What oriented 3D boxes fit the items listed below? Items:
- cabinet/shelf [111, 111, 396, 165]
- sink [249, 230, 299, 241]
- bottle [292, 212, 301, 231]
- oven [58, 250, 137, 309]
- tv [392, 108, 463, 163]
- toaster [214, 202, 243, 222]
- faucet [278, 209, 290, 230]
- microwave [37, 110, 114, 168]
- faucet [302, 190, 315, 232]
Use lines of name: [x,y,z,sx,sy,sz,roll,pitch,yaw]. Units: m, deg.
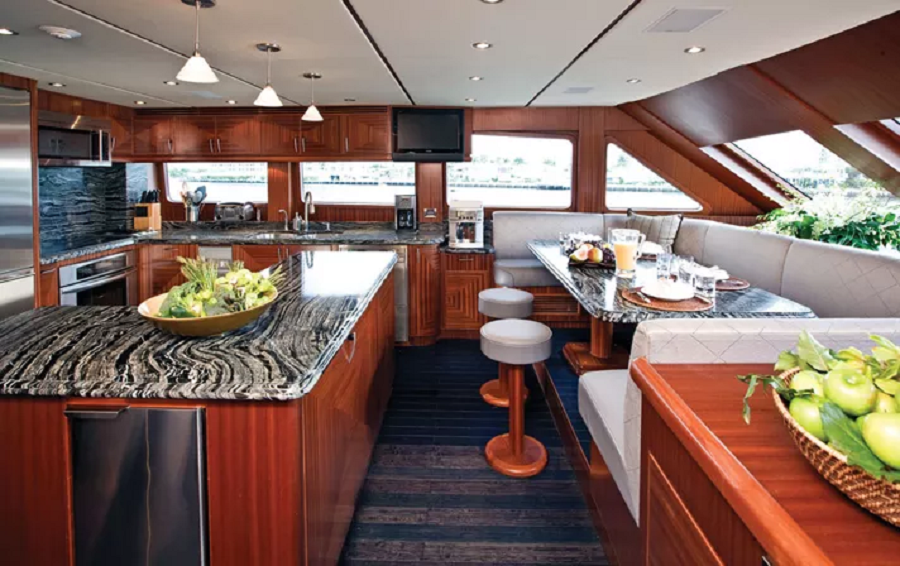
cabinet/shelf: [-2.066,-1.581,5.905,2.854,0.547,0.239,-1,13,0]
sink: [-1.874,-0.506,5.994,0.346,0.099,0.243,2,10,-1]
bottle: [-1.719,-0.693,6.182,0.112,0.189,0.183,-5,13,-15]
oven: [-3.244,-0.024,5.157,0.487,0.544,0.648,6,13,8]
tv: [-0.272,-1.580,5.867,0.732,0.410,0.088,0,12,-5]
toaster: [-2.472,-0.802,6.201,0.322,0.195,0.073,1,13,9]
faucet: [-1.855,-0.717,6.210,0.167,0.231,0.055,11,18,43]
microwave: [-3.543,-1.353,5.210,0.512,0.442,0.755,3,7,2]
faucet: [-1.591,-0.814,6.205,0.139,0.430,0.302,-4,13,-13]
